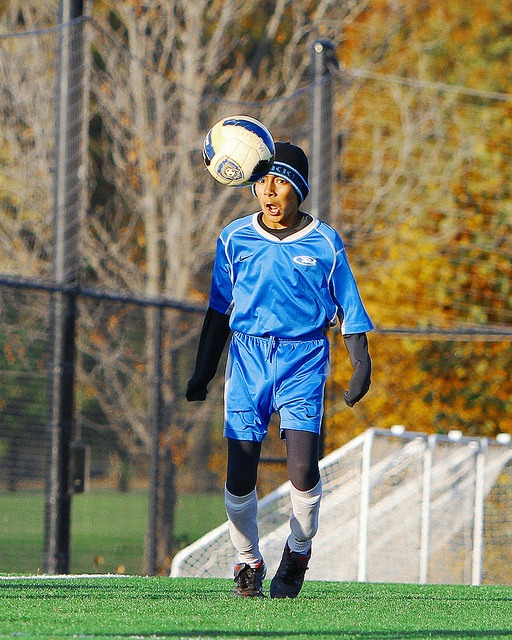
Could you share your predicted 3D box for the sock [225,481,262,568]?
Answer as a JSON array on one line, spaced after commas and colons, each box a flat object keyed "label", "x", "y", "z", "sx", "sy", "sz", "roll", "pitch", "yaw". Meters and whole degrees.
[{"label": "sock", "x": -0.067, "y": 1.104, "z": 9.562, "sx": 0.144, "sy": 0.533, "sz": 0.164, "roll": -3, "pitch": 10, "yaw": 22}]

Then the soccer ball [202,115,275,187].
[{"label": "soccer ball", "x": -0.094, "y": -0.872, "z": 9.374, "sx": 0.359, "sy": 0.377, "sz": 0.175, "roll": -1, "pitch": -5, "yaw": -2}]

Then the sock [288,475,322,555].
[{"label": "sock", "x": 0.239, "y": 1.034, "z": 9.490, "sx": 0.163, "sy": 0.390, "sz": 0.207, "roll": -1, "pitch": -5, "yaw": -4}]

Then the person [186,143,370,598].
[{"label": "person", "x": 0.112, "y": 0.267, "z": 9.493, "sx": 0.921, "sy": 2.369, "sz": 0.470, "roll": -1, "pitch": -4, "yaw": 0}]
